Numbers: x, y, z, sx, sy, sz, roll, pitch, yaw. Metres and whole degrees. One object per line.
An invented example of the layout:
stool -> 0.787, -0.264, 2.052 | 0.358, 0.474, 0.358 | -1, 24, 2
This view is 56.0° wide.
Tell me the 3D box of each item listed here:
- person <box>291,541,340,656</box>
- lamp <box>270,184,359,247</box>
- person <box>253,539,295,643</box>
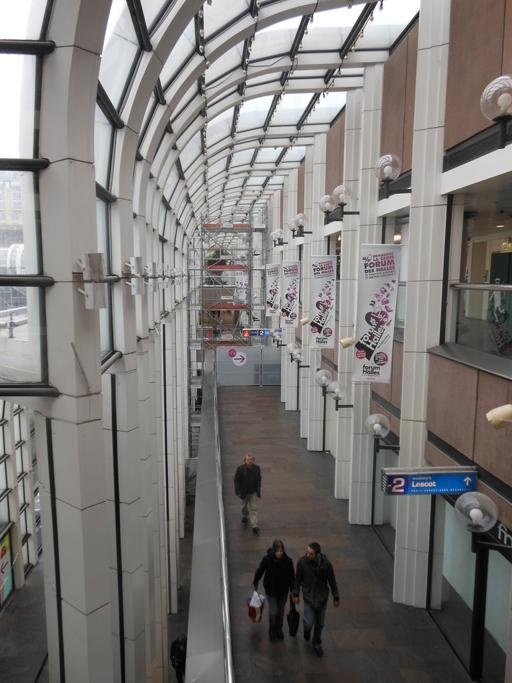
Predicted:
person -> 0.764, 3.282, 6.239 | 0.502, 1.569, 0.403 | 0, 9, 3
lamp -> 1.585, -3.365, 13.175 | 0.848, 1.275, 3.968 | -4, -7, -22
person -> 0.254, 3.304, 6.413 | 0.535, 1.385, 0.336 | 3, 10, 12
